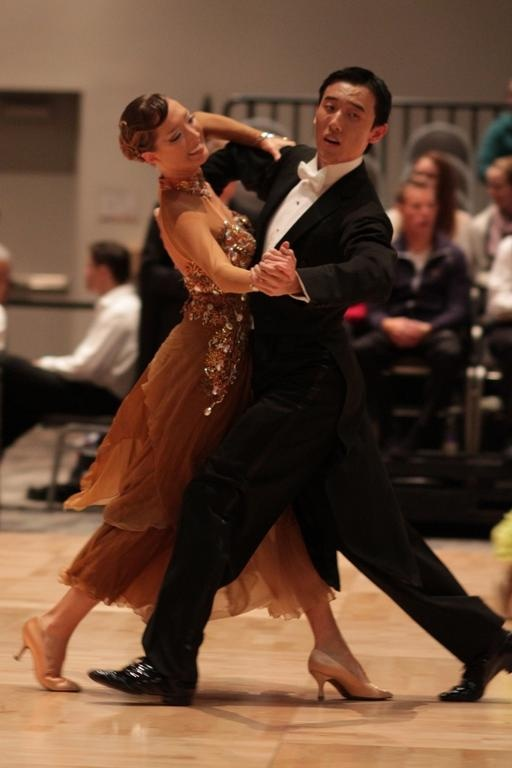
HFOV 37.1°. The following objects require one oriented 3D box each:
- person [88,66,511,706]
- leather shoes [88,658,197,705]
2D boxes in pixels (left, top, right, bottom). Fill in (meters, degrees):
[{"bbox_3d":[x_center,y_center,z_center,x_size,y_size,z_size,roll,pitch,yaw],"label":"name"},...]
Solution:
[{"bbox_3d":[0.270,0.051,2.465,1.579,1.699,1.039,6,-3,-9],"label":"person"},{"bbox_3d":[-0.244,0.629,1.615,0.227,0.107,0.116,4,4,-1],"label":"leather shoes"}]
